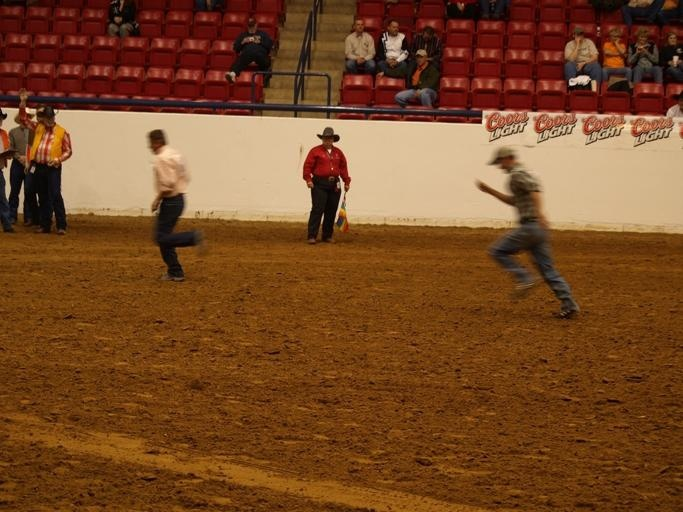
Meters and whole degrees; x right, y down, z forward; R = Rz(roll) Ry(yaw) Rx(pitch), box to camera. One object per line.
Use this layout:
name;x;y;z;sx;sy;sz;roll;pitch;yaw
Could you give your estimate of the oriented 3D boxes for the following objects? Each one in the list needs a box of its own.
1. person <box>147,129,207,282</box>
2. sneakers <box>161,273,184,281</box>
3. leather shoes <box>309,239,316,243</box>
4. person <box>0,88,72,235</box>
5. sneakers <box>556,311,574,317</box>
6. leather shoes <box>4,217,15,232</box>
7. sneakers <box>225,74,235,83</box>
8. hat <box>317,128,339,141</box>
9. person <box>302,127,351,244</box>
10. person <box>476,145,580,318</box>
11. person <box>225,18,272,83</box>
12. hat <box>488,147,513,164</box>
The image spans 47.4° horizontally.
person;-2.432;-0.751;11.362;0.673;2.183;1.560;-1;7;-13
sneakers;-2.437;0.323;11.347;0.368;0.113;0.116;9;5;6
leather shoes;-0.540;-0.281;14.879;0.180;0.077;0.138;-3;7;-29
person;-5.612;-1.640;14.921;0.822;2.405;0.549;7;10;40
sneakers;2.874;0.737;9.931;0.129;0.049;0.146;-1;1;0
leather shoes;-6.385;-0.587;14.876;0.195;0.279;0.239;-2;7;-22
sneakers;-2.661;-4.307;18.650;0.216;0.177;0.219;-2;-30;-9
hat;-0.217;-2.383;15.078;0.406;0.141;0.408;3;-10;2
person;-0.323;-1.363;15.048;0.977;2.201;0.438;-4;9;-34
person;2.398;-0.303;9.980;1.214;2.175;0.948;1;7;8
person;-2.280;-5.259;19.711;1.014;1.543;0.975;0;7;-5
hat;2.050;-1.267;9.812;0.277;0.200;0.229;1;6;9
